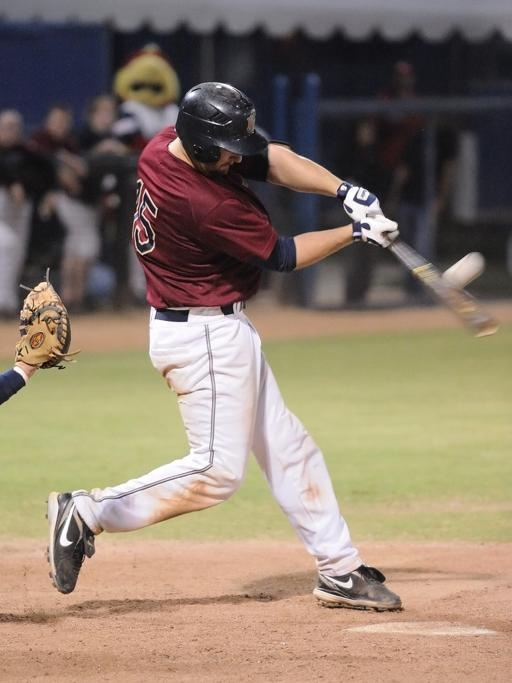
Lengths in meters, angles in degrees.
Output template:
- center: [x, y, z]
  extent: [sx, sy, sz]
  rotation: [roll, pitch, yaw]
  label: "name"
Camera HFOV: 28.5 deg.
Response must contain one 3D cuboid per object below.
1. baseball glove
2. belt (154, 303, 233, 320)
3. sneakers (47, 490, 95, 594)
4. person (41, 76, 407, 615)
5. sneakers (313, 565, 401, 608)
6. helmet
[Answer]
- center: [-0.593, -0.069, 3.163]
  extent: [0.278, 0.272, 0.098]
  rotation: [-23, -27, 37]
  label: "baseball glove"
- center: [-0.173, -0.079, 2.859]
  extent: [0.226, 0.046, 0.060]
  rotation: [-2, 10, 3]
  label: "belt"
- center: [-0.518, 0.572, 2.929]
  extent: [0.193, 0.292, 0.112]
  rotation: [-2, 4, 0]
  label: "sneakers"
- center: [-0.099, 0.024, 2.969]
  extent: [1.045, 1.539, 0.533]
  rotation: [-2, 12, 6]
  label: "person"
- center: [0.301, 0.736, 3.020]
  extent: [0.297, 0.119, 0.103]
  rotation: [2, -2, 10]
  label: "sneakers"
- center: [-0.097, -0.606, 2.796]
  extent: [0.252, 0.233, 0.248]
  rotation: [-3, 10, 0]
  label: "helmet"
